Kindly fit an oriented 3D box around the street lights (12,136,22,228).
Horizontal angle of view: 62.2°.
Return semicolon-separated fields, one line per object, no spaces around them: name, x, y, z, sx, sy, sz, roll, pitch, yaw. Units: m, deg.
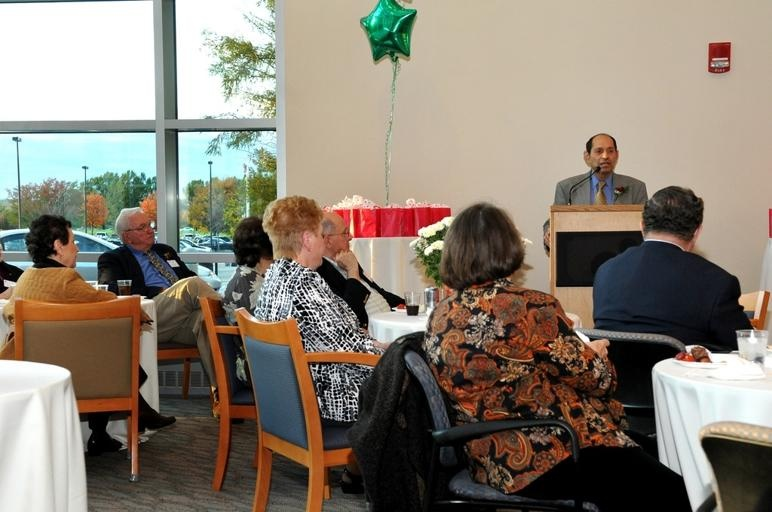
street lights;-3.922;-0.793;6.787;0.091;0.928;0.033;-1;6;-7

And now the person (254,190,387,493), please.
person;-0.293;0.558;3.683;0.882;1.758;0.786;-3;4;-23

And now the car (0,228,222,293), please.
car;-3.086;-0.043;7.009;1.989;0.781;0.972;0;-2;-5

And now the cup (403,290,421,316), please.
cup;0.154;0.311;4.225;0.118;0.148;0.121;-1;-3;0

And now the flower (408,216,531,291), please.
flower;0.373;-0.011;3.378;0.499;0.446;0.479;-10;12;-43

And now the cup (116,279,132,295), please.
cup;-2.019;0.225;4.863;0.127;0.159;0.133;0;0;0

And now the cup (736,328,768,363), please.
cup;1.650;0.407;2.929;0.129;0.162;0.136;0;-1;0

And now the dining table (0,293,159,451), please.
dining table;-2.270;0.931;4.819;1.053;1.019;1.057;-3;6;-38

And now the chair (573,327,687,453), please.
chair;1.277;0.647;3.569;0.525;0.749;0.526;3;13;35

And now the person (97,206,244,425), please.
person;-1.936;0.404;5.829;0.939;1.741;0.722;-8;8;25
